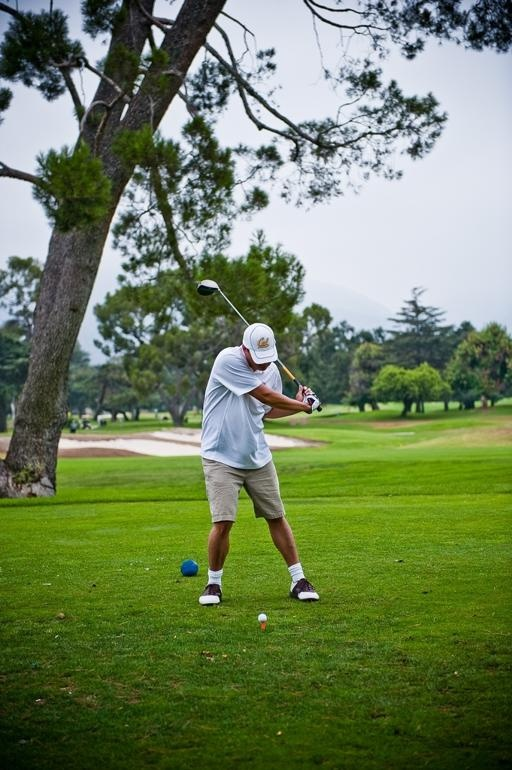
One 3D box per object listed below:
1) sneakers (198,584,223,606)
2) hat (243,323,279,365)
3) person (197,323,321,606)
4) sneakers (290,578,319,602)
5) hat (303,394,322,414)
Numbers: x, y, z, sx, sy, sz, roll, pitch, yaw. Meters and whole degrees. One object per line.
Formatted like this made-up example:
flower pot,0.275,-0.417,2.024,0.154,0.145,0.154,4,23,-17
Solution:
sneakers,-0.291,1.306,6.306,0.135,0.099,0.233,-1,1,-2
hat,0.027,-0.279,6.850,0.202,0.292,0.152,-11,-36,-13
person,-0.009,0.465,6.788,0.751,1.761,1.168,-1,1,1
sneakers,0.302,1.287,6.350,0.152,0.114,0.231,-1,1,-11
hat,0.394,0.152,7.308,0.050,0.100,0.142,-36,-34,23
